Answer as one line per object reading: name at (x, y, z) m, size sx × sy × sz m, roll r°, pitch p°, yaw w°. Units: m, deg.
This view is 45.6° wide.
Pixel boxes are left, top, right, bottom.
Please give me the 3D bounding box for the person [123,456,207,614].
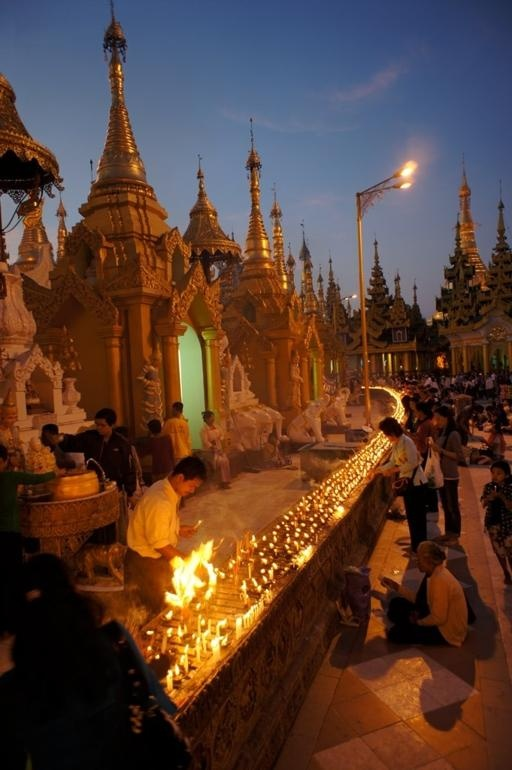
person at (-0.587, 0.963, 3.930) m, size 0.525 × 0.716 × 0.391 m, roll -3°, pitch 2°, yaw -14°
